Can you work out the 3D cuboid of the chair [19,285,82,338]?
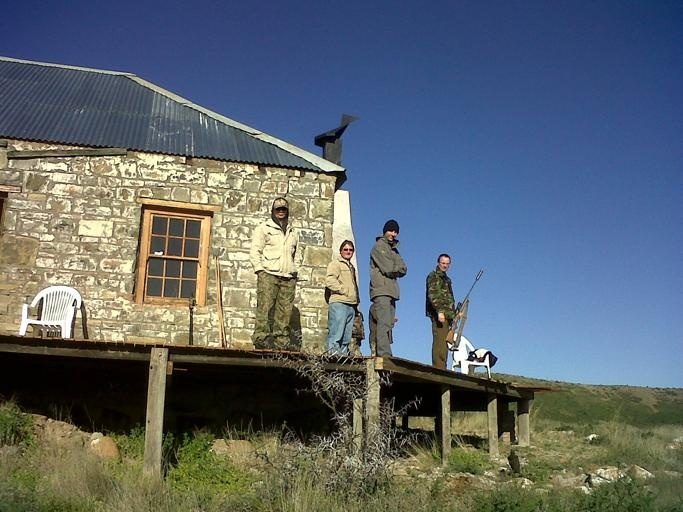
[{"bbox_3d":[-4.725,0.873,9.537,0.840,0.852,0.962,5,-5,-24],"label":"chair"}]

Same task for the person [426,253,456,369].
[{"bbox_3d":[1.714,0.920,9.824,0.527,1.913,0.527,2,-4,-3],"label":"person"}]

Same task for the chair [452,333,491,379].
[{"bbox_3d":[2.395,1.761,10.511,0.770,0.734,0.575,3,-3,18],"label":"chair"}]

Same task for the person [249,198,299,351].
[{"bbox_3d":[-1.086,0.272,9.558,0.727,2.465,1.175,2,-4,7],"label":"person"}]

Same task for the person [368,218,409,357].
[{"bbox_3d":[0.731,0.483,9.404,0.552,2.233,0.816,1,-5,10],"label":"person"}]

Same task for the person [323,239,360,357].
[{"bbox_3d":[-0.026,0.627,9.433,0.453,1.853,0.832,0,-5,27],"label":"person"}]
